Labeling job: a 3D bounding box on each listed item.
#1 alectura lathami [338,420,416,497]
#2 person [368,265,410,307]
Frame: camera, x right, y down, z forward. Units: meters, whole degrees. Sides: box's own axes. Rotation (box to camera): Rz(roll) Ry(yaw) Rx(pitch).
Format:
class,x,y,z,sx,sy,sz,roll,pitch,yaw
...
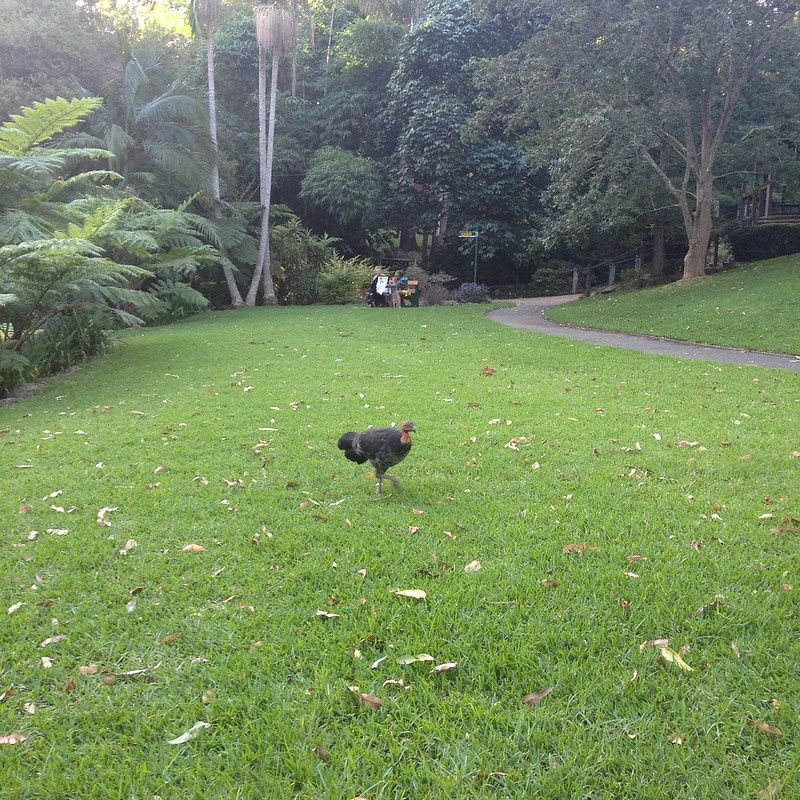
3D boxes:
class,x,y,z,sx,sy,sz,roll,pitch,yaw
alectura lathami,-0.221,0.471,6.672,0.761,0.816,0.396,14,22,31
person,-0.482,-4.269,27.473,1.487,1.556,2.844,-1,15,-3
